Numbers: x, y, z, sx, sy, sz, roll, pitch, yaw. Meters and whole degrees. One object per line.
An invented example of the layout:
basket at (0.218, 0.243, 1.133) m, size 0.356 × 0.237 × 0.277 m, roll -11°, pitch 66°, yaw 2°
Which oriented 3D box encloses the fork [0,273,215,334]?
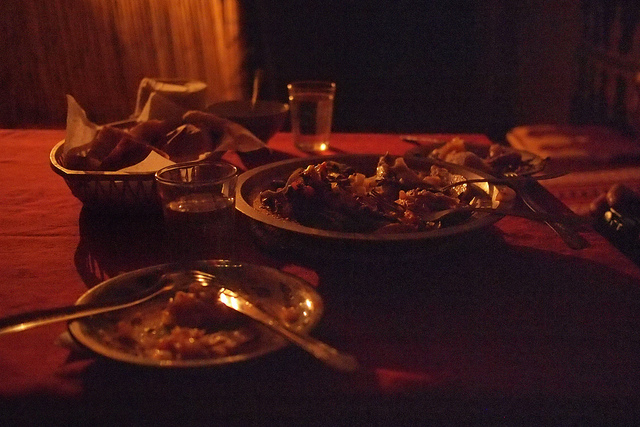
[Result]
fork at (-0.358, 0.159, 0.941) m, size 0.342 × 0.028 × 0.058 m, roll -8°, pitch 43°, yaw -32°

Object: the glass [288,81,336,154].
glass at (-0.025, -0.323, 1.874) m, size 0.131 × 0.278 × 0.106 m, roll 9°, pitch 19°, yaw 35°

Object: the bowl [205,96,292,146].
bowl at (-0.207, -0.311, 1.751) m, size 0.305 × 0.134 × 0.290 m, roll 3°, pitch 20°, yaw -1°

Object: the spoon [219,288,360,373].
spoon at (-0.059, 0.197, 0.899) m, size 0.040 × 0.028 × 0.340 m, roll -23°, pitch 31°, yaw -38°

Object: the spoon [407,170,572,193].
spoon at (0.400, -0.078, 1.325) m, size 0.323 × 0.031 × 0.056 m, roll -6°, pitch -2°, yaw 13°

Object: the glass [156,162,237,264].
glass at (-0.256, 0.002, 1.167) m, size 0.139 × 0.228 × 0.133 m, roll 13°, pitch 20°, yaw 37°

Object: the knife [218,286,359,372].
knife at (-0.062, 0.195, 0.900) m, size 0.036 × 0.017 × 0.270 m, roll -37°, pitch 44°, yaw -27°
